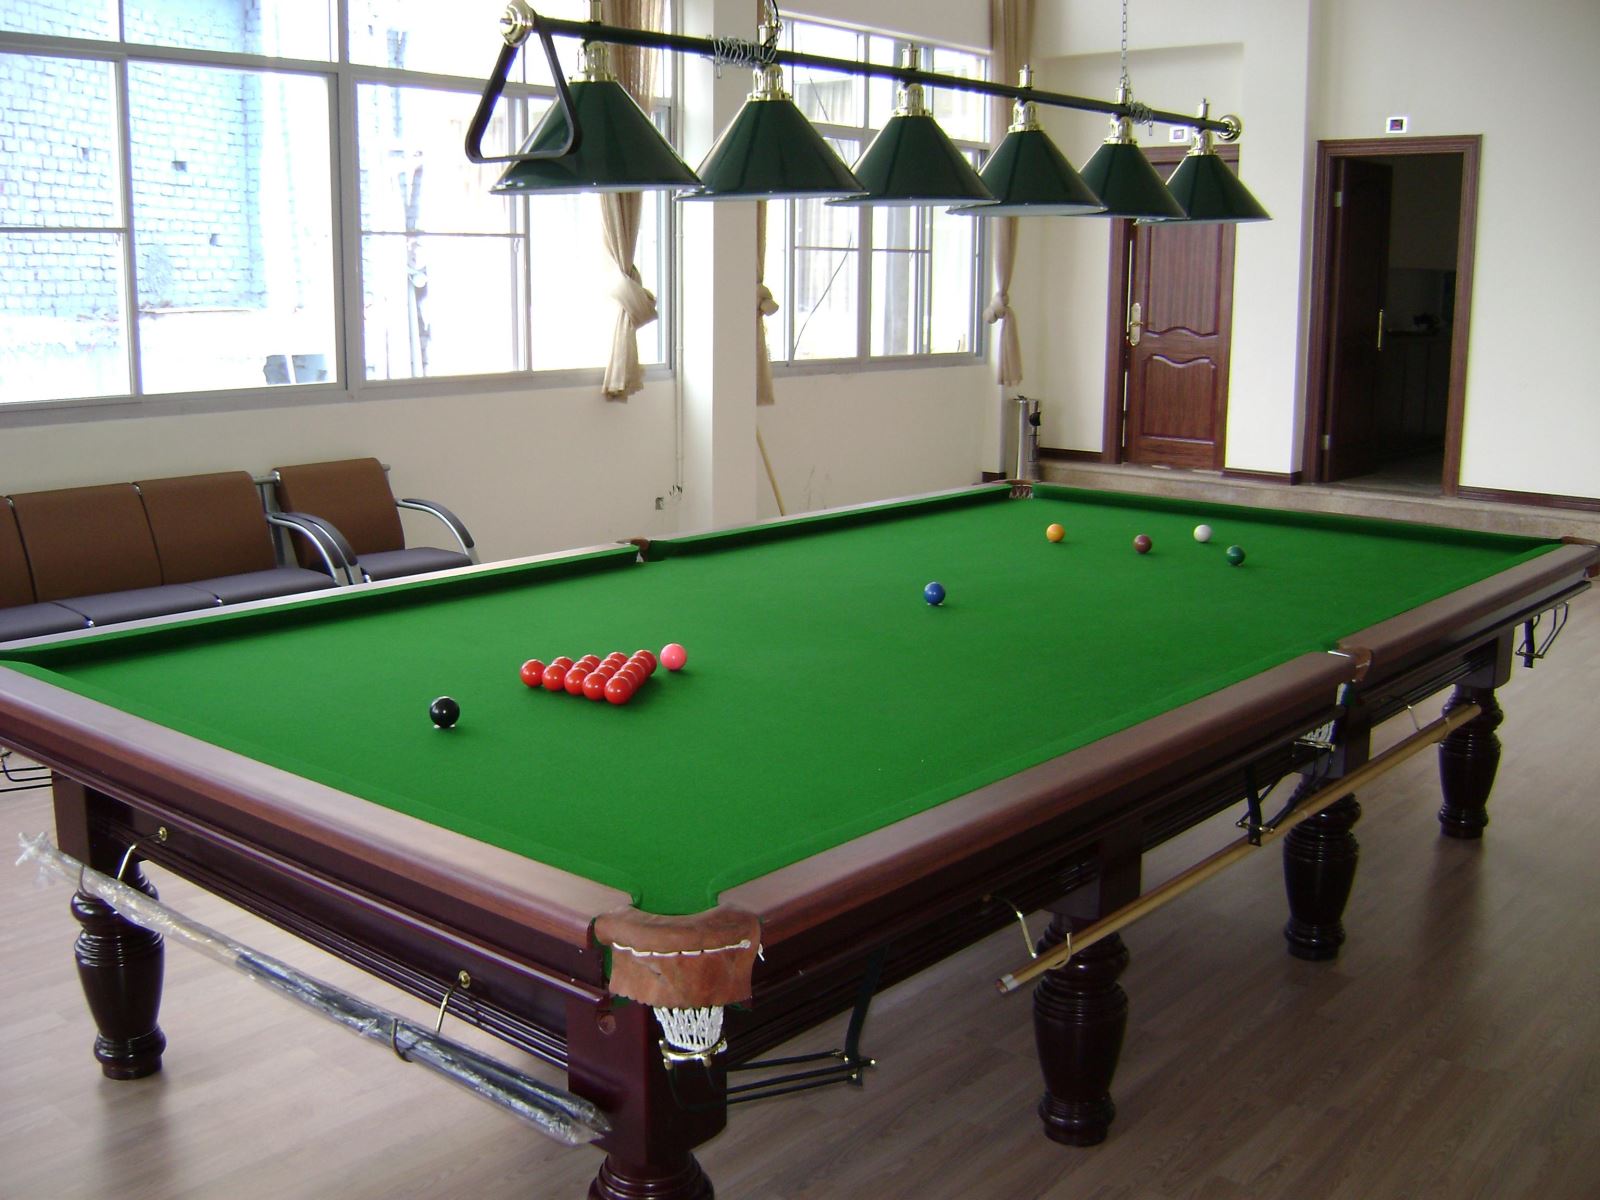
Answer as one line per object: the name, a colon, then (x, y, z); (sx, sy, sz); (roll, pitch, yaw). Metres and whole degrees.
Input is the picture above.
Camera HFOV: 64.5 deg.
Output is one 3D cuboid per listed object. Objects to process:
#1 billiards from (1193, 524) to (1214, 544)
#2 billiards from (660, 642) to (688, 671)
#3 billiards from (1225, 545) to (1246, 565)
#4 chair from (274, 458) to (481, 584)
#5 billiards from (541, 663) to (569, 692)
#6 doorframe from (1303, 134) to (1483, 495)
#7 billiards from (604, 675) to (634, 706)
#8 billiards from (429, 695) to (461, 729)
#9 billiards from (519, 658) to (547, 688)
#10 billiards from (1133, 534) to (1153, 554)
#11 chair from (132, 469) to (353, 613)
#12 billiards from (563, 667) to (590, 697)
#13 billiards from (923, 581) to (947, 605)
billiards: (1.318, -0.231, 4.141); (0.069, 0.040, 0.069); (11, 32, 27)
billiards: (-0.280, 0.129, 2.781); (0.054, 0.057, 0.067); (-4, -7, -2)
billiards: (1.317, -0.143, 3.807); (0.064, 0.060, 0.072); (9, 23, 20)
chair: (-1.971, -0.367, 5.737); (0.617, 0.553, 0.500); (20, 27, 40)
billiards: (-0.512, 0.157, 2.639); (0.053, 0.065, 0.054); (11, 4, 33)
doorframe: (4.105, -1.985, 8.812); (1.063, 2.419, 0.505); (5, 17, 28)
billiards: (-0.362, 0.175, 2.561); (0.056, 0.069, 0.058); (10, -1, -1)
billiards: (-0.684, 0.216, 2.417); (0.055, 0.061, 0.058); (4, 17, 18)
billiards: (-0.568, 0.154, 2.672); (0.041, 0.050, 0.042); (7, 14, 23)
billiards: (1.078, -0.184, 3.968); (0.061, 0.076, 0.063); (-10, 15, 20)
chair: (-2.340, -0.244, 5.192); (0.497, 0.559, 0.412); (-18, 24, -41)
billiards: (-0.465, 0.174, 2.651); (0.053, 0.062, 0.053); (25, -46, -38)
billiards: (0.357, -0.026, 3.338); (0.056, 0.059, 0.036); (6, -10, 4)
